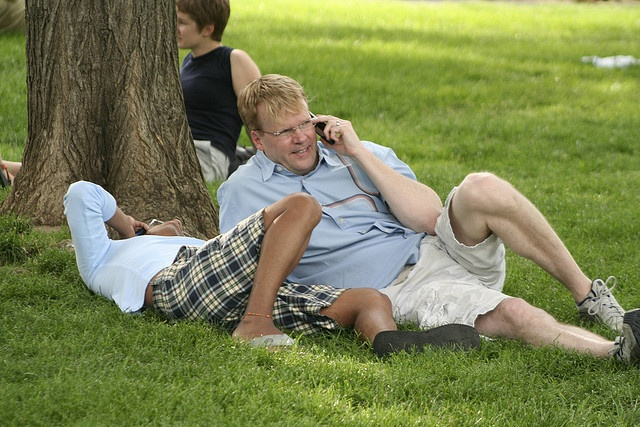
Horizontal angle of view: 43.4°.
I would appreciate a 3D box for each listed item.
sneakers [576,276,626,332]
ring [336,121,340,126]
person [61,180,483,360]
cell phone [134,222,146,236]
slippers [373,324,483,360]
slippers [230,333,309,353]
[{"bbox_3d":[2.123,0.693,6.026,0.393,0.250,0.173,27,57,32],"label":"sneakers"},{"bbox_3d":[0.161,-0.737,6.517,0.038,0.036,0.009,-3,-2,2],"label":"ring"},{"bbox_3d":[-0.491,0.349,6.154,3.030,1.265,1.206,0,3,22],"label":"person"},{"bbox_3d":[-1.475,0.137,6.615,0.089,0.067,0.026,-34,16,4],"label":"cell phone"},{"bbox_3d":[0.764,0.934,5.779,0.786,0.272,0.310,5,-19,-12],"label":"slippers"},{"bbox_3d":[-0.333,0.901,5.644,0.413,0.104,0.163,4,12,-6],"label":"slippers"}]
